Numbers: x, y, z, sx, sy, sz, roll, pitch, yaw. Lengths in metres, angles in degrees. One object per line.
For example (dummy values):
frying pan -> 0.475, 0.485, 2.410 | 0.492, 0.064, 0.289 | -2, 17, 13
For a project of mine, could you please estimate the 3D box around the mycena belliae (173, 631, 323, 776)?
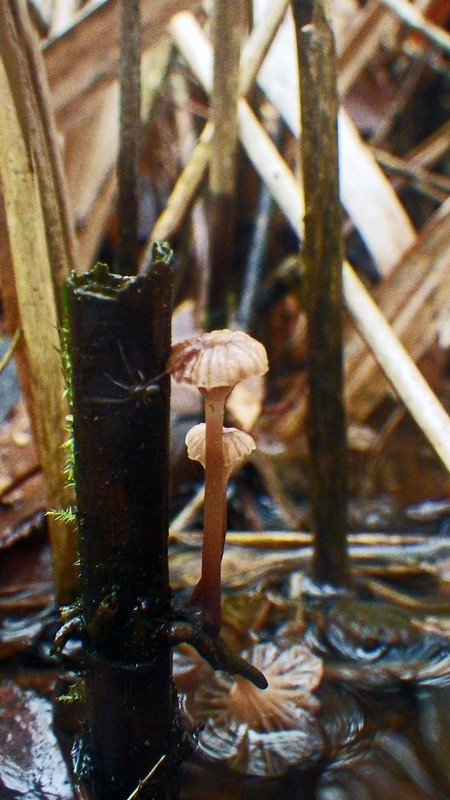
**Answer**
mycena belliae -> 0.041, 0.599, 1.637 | 0.297, 0.225, 0.201 | -2, -19, 5
